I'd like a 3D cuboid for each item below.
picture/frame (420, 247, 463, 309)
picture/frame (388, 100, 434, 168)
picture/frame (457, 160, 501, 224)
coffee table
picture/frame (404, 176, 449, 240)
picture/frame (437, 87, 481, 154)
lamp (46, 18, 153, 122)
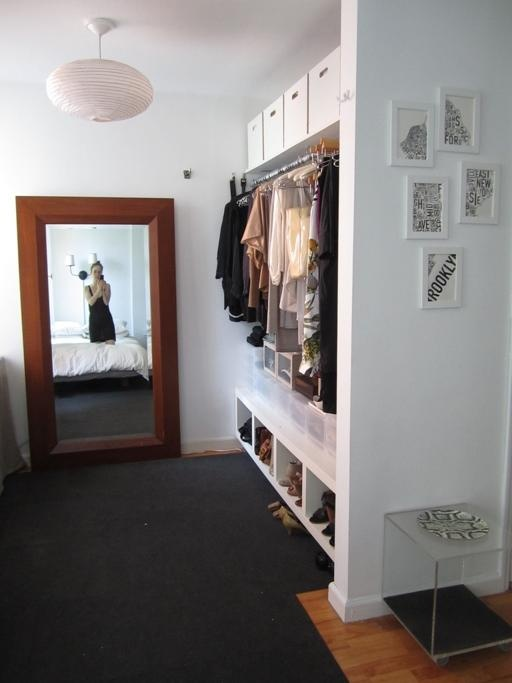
[{"bbox_3d":[0.649,-0.238,1.875,0.155,0.272,0.024,-3,10,-13],"label":"picture/frame"},{"bbox_3d":[0.513,-0.707,1.776,0.175,0.263,0.017,-2,4,-26],"label":"picture/frame"},{"bbox_3d":[0.784,-0.541,1.879,0.172,0.298,0.026,-2,4,-22],"label":"picture/frame"},{"bbox_3d":[0.674,0.833,1.839,0.368,0.392,0.359,-2,5,-16],"label":"coffee table"},{"bbox_3d":[0.592,-0.467,1.838,0.140,0.244,0.025,3,-20,13],"label":"picture/frame"},{"bbox_3d":[0.691,-0.773,1.823,0.170,0.258,0.016,-4,9,-22],"label":"picture/frame"},{"bbox_3d":[-0.721,-1.265,2.360,0.431,0.473,0.395,4,7,41],"label":"lamp"}]
